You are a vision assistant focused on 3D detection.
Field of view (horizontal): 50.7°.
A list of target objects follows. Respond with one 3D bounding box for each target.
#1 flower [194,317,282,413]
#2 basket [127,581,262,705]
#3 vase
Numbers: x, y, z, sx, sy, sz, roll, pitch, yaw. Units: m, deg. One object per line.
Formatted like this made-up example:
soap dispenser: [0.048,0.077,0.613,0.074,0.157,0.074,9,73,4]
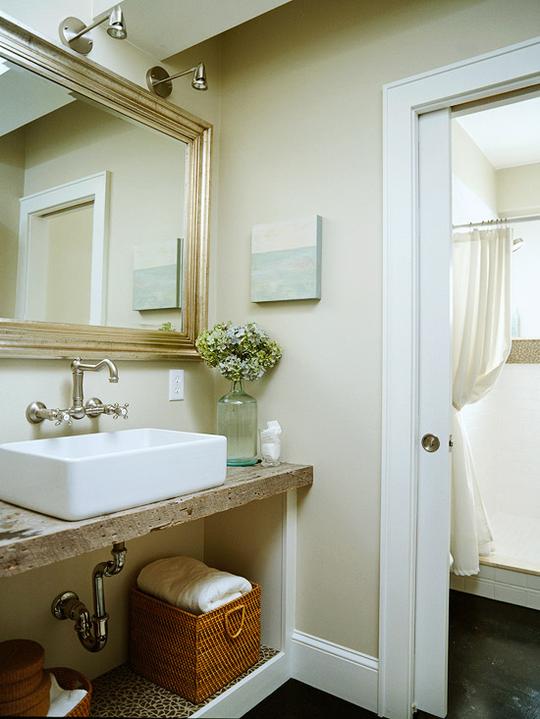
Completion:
flower: [-0.128,0.030,1.968,0.254,0.293,0.279,4,-4,-25]
basket: [-0.218,0.882,1.837,0.292,0.237,0.303,0,-1,38]
vase: [-0.110,0.224,1.948,0.138,0.262,0.132,2,4,12]
